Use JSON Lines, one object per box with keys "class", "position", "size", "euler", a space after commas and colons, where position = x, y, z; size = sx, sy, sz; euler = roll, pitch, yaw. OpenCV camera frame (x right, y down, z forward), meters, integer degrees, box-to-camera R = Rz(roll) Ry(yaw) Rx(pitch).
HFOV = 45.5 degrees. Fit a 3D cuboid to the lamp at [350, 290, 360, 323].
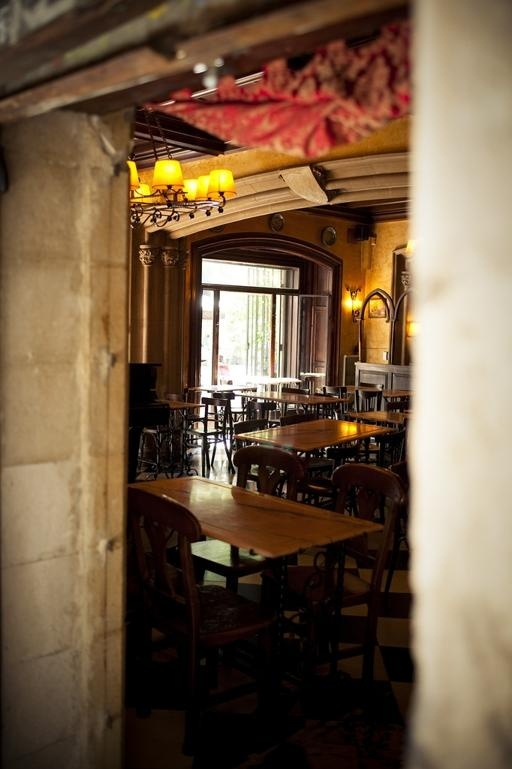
{"class": "lamp", "position": [2.095, -1.656, 12.956], "size": [0.314, 0.635, 0.115], "euler": [3, 2, -44]}
